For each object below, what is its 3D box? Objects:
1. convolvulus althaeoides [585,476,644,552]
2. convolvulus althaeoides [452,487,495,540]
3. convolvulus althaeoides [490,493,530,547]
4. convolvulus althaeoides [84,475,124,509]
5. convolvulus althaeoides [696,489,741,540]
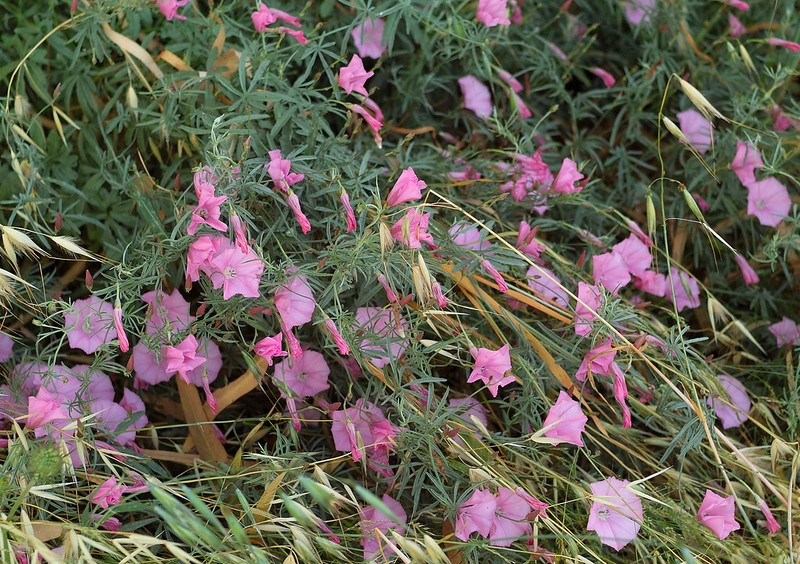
[{"bbox_3d":[0.412,0.451,1.457,0.113,0.110,0.050,16,85,-25],"label":"convolvulus althaeoides"},{"bbox_3d":[0.141,0.451,1.466,0.070,0.105,0.097,20,68,9],"label":"convolvulus althaeoides"},{"bbox_3d":[0.211,0.445,1.468,0.077,0.053,0.088,10,68,4],"label":"convolvulus althaeoides"},{"bbox_3d":[-0.551,0.377,1.424,0.065,0.034,0.058,-14,110,-22],"label":"convolvulus althaeoides"},{"bbox_3d":[0.603,0.437,1.479,0.087,0.042,0.088,48,67,-16],"label":"convolvulus althaeoides"}]
